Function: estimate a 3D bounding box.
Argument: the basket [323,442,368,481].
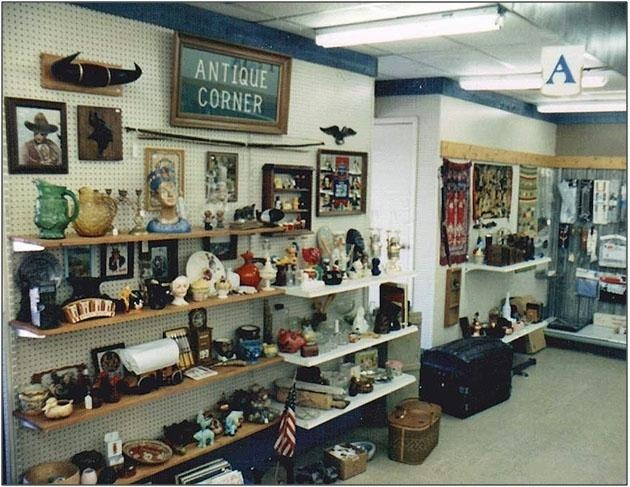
[{"bbox_3d":[0.314,2.215,5.465,0.307,0.231,0.377,10,12,43],"label":"basket"}]

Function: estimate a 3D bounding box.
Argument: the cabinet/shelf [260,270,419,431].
[{"bbox_3d":[0.210,1.125,5.567,0.324,1.146,1.919,-2,4,39],"label":"cabinet/shelf"}]

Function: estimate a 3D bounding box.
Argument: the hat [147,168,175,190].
[{"bbox_3d":[-1.211,-0.520,4.278,0.223,0.160,0.181,-7,-2,-19],"label":"hat"}]

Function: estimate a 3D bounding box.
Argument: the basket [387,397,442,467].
[{"bbox_3d":[1.075,2.050,5.879,0.467,0.463,0.611,3,5,32],"label":"basket"}]

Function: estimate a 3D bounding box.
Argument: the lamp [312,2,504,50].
[{"bbox_3d":[0.764,-1.870,4.617,1.604,0.191,0.272,8,10,33],"label":"lamp"}]

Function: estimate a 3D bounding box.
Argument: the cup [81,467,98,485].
[{"bbox_3d":[-1.619,1.671,3.896,0.110,0.124,0.105,3,7,0],"label":"cup"}]

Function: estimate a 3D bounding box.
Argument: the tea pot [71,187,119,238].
[{"bbox_3d":[-1.566,-0.215,3.810,0.273,0.361,0.367,-2,-5,39],"label":"tea pot"}]

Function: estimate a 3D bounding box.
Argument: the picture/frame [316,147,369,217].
[{"bbox_3d":[0.278,-0.685,5.888,0.063,0.578,0.812,4,6,34],"label":"picture/frame"}]

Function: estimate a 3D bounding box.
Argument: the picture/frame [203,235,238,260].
[{"bbox_3d":[-0.854,0.032,4.772,0.222,0.199,0.028,-3,5,-41],"label":"picture/frame"}]

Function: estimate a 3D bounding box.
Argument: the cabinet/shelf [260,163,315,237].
[{"bbox_3d":[-0.286,-0.435,5.218,0.295,0.904,0.749,2,3,40],"label":"cabinet/shelf"}]

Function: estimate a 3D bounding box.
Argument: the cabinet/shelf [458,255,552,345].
[{"bbox_3d":[3.047,0.940,8.736,0.500,0.876,1.686,2,4,39],"label":"cabinet/shelf"}]

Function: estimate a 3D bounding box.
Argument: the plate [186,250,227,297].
[{"bbox_3d":[-0.947,0.261,4.592,0.084,0.352,0.358,-14,-35,35],"label":"plate"}]

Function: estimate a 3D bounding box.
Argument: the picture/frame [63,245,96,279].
[{"bbox_3d":[-1.743,0.134,4.000,0.236,0.223,0.072,-2,10,-25],"label":"picture/frame"}]

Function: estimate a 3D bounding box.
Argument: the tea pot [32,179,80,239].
[{"bbox_3d":[-1.790,-0.237,3.713,0.299,0.390,0.198,-1,9,-17],"label":"tea pot"}]

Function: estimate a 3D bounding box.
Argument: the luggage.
[{"bbox_3d":[2.018,1.727,7.225,1.231,0.816,0.785,1,3,-42],"label":"luggage"}]

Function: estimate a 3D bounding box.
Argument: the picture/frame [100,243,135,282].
[{"bbox_3d":[-1.542,0.142,4.155,0.027,0.348,0.314,-1,-1,43],"label":"picture/frame"}]
